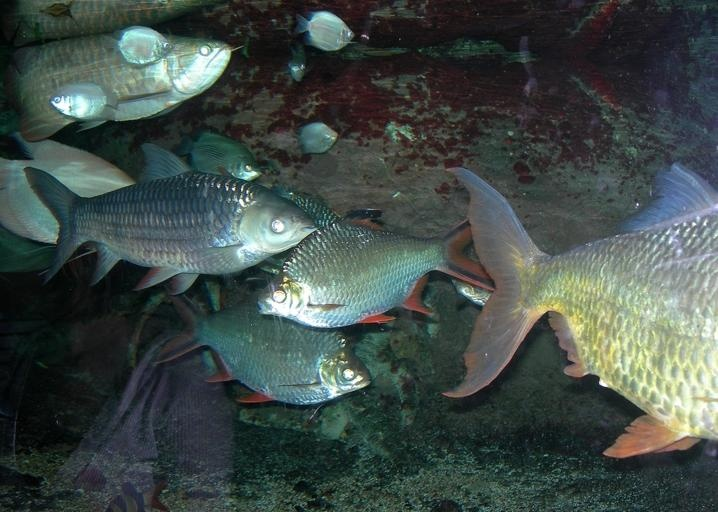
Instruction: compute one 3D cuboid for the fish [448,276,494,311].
[{"bbox_3d":[0.765,0.251,5.065,0.242,0.228,0.065,34,72,-10],"label":"fish"}]
